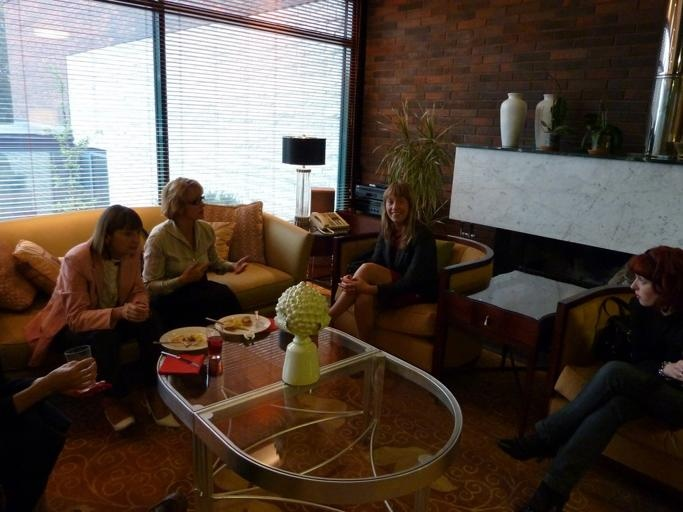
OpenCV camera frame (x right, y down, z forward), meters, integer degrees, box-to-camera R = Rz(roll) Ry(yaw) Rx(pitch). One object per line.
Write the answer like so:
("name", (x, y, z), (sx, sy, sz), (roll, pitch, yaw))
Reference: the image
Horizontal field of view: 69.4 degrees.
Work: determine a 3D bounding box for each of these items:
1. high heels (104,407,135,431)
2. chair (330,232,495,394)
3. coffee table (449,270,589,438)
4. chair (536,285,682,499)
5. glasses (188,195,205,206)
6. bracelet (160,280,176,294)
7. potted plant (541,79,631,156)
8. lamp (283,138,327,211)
("high heels", (-1.218, 0.893, 2.733), (0.184, 0.071, 0.094), (15, 23, 38))
("chair", (0.578, 0.278, 3.727), (1.063, 0.796, 0.952), (17, 20, 39))
("coffee table", (1.130, 0.561, 3.265), (0.873, 0.717, 0.763), (-13, 23, -38))
("chair", (1.346, 0.600, 2.517), (0.758, 0.759, 0.785), (-5, 12, -39))
("glasses", (-0.954, -0.362, 3.211), (0.073, 0.029, 0.056), (16, 23, 36))
("bracelet", (-1.089, 0.194, 3.123), (0.070, 0.077, 0.086), (12, -3, -17))
("potted plant", (1.844, -1.082, 3.845), (0.644, 0.557, 0.457), (18, 32, 30))
("lamp", (-0.346, -0.777, 4.760), (0.394, 0.737, 0.524), (-1, 15, -3))
